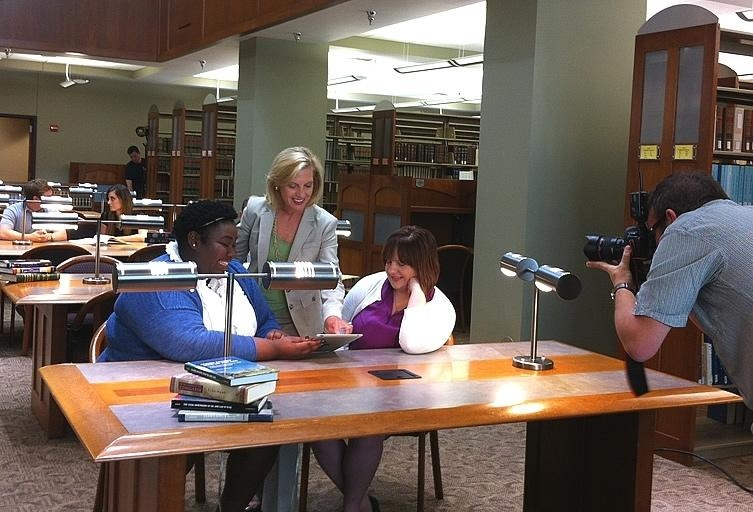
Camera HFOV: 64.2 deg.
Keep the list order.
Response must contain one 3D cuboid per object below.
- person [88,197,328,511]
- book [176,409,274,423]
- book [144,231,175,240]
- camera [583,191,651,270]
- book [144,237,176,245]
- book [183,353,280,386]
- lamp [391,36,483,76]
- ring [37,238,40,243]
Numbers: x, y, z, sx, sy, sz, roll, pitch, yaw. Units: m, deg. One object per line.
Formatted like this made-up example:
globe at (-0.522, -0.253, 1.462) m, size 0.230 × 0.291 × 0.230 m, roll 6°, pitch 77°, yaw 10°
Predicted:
person at (-0.705, 0.428, 3.197) m, size 1.329 × 1.804 × 0.932 m, roll -5°, pitch -8°, yaw 27°
book at (-0.477, 0.514, 1.908) m, size 0.294 × 0.036 × 0.049 m, roll 2°, pitch 8°, yaw -10°
book at (-2.109, -0.199, 5.847) m, size 0.197 × 0.075 × 0.183 m, roll 1°, pitch 4°, yaw 2°
camera at (0.965, -0.099, 2.396) m, size 0.259 × 0.278 × 0.177 m, roll 1°, pitch 6°, yaw 42°
book at (-1.954, -0.138, 5.447) m, size 0.200 × 0.047 × 0.143 m, roll 1°, pitch 3°, yaw 6°
book at (-0.479, 0.375, 1.962) m, size 0.145 × 0.025 × 0.144 m, roll 12°, pitch 10°, yaw 35°
lamp at (1.024, -3.409, 10.094) m, size 2.148 × 0.162 × 0.390 m, roll -7°, pitch -7°, yaw -27°
ring at (-3.348, -0.153, 5.970) m, size 0.035 × 0.034 × 0.009 m, roll 6°, pitch -9°, yaw -14°
